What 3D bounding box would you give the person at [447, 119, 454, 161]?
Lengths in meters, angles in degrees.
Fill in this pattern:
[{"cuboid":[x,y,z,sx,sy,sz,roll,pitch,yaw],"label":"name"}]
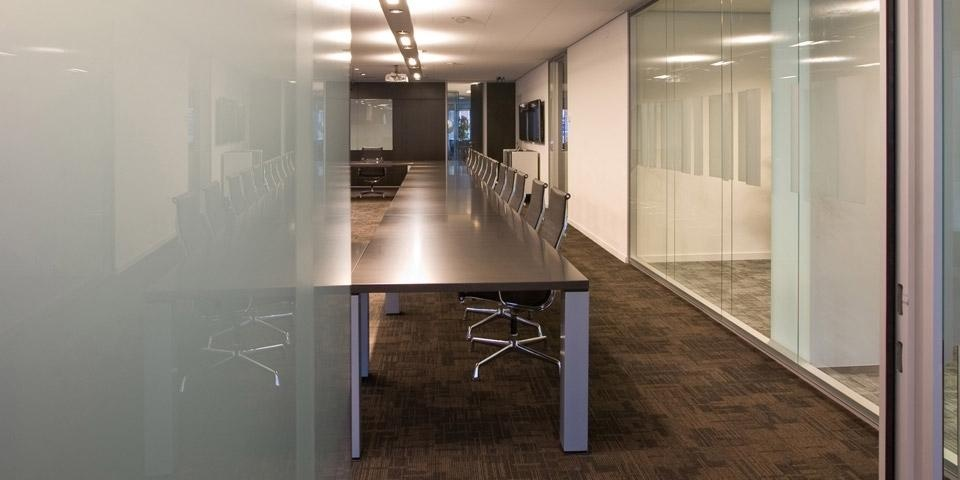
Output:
[{"cuboid":[-0.741,-3.201,19.347,0.204,1.159,0.285,0,11,-2],"label":"person"}]
